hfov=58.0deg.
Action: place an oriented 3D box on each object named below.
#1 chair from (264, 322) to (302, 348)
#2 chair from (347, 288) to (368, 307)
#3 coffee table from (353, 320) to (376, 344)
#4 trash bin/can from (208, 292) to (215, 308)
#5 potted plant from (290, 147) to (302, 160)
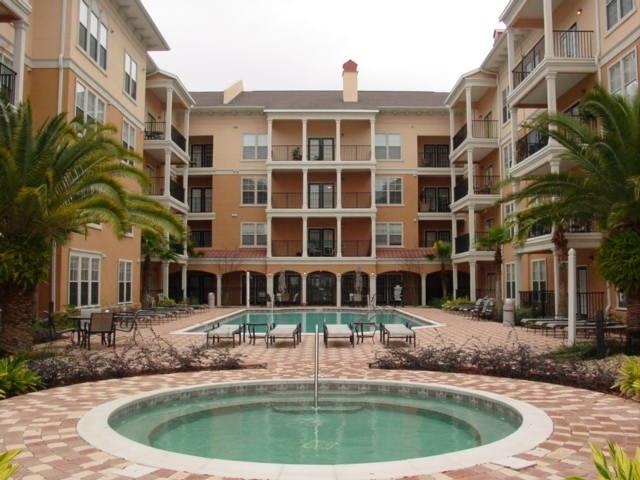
[{"bbox_3d":[-1.129,2.926,17.504,0.767,0.516,1.429,-1,-8,3],"label":"chair"},{"bbox_3d":[2.398,3.685,35.709,1.677,1.105,0.897,0,1,7],"label":"chair"},{"bbox_3d":[1.505,3.093,19.105,1.078,0.791,1.041,0,-8,1],"label":"coffee table"},{"bbox_3d":[-6.448,3.591,34.212,0.331,0.879,0.819,2,-9,-16],"label":"trash bin/can"},{"bbox_3d":[-1.525,-5.598,37.491,0.744,1.360,0.740,-1,0,-2],"label":"potted plant"}]
